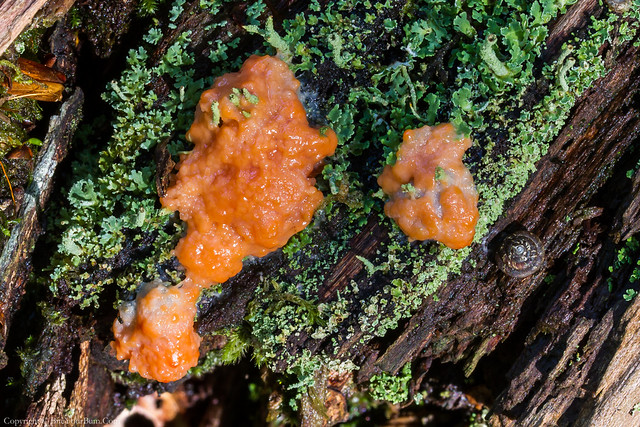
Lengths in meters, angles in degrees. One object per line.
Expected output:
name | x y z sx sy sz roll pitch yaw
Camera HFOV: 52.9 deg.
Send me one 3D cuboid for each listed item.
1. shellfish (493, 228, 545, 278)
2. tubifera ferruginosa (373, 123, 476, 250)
shellfish | 2.221 0.414 7.194 0.583 0.218 0.588 6 87 22
tubifera ferruginosa | 1.162 -0.312 6.860 1.177 0.853 1.210 2 104 28
